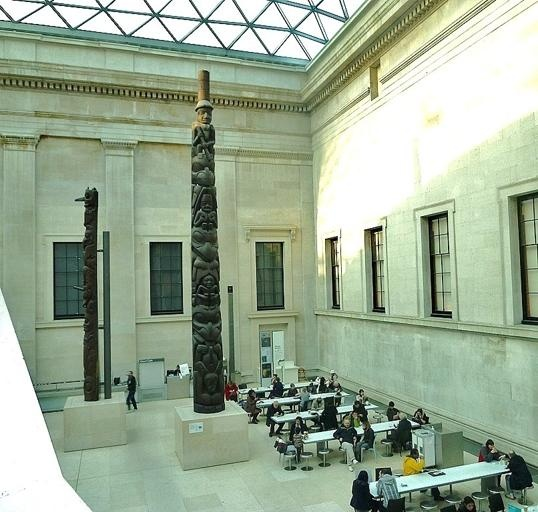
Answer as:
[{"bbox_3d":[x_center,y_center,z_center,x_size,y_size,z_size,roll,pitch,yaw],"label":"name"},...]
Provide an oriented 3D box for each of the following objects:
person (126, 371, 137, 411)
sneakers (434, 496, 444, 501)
[{"bbox_3d":[-4.526,4.420,18.924,0.307,1.266,0.824,0,-3,-14],"label":"person"},{"bbox_3d":[3.410,4.859,11.557,0.133,0.099,0.073,3,-7,-22],"label":"sneakers"}]
